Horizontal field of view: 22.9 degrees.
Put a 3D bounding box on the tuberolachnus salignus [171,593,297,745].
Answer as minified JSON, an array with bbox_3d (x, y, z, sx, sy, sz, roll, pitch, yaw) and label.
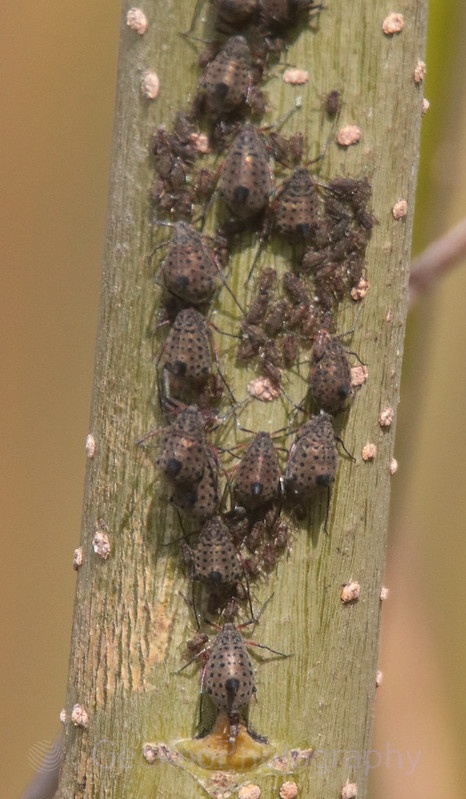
[{"bbox_3d":[0.006,0.591,2.586,0.202,0.104,0.341,-5,66,-3],"label":"tuberolachnus salignus"}]
